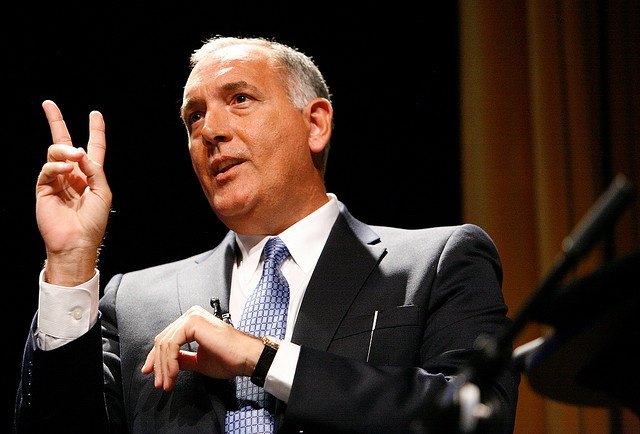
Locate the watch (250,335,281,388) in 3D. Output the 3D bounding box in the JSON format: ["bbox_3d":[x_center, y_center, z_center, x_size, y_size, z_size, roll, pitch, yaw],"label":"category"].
[{"bbox_3d":[-0.159,0.429,2.145,0.058,0.106,0.106,19,24,4],"label":"watch"}]
